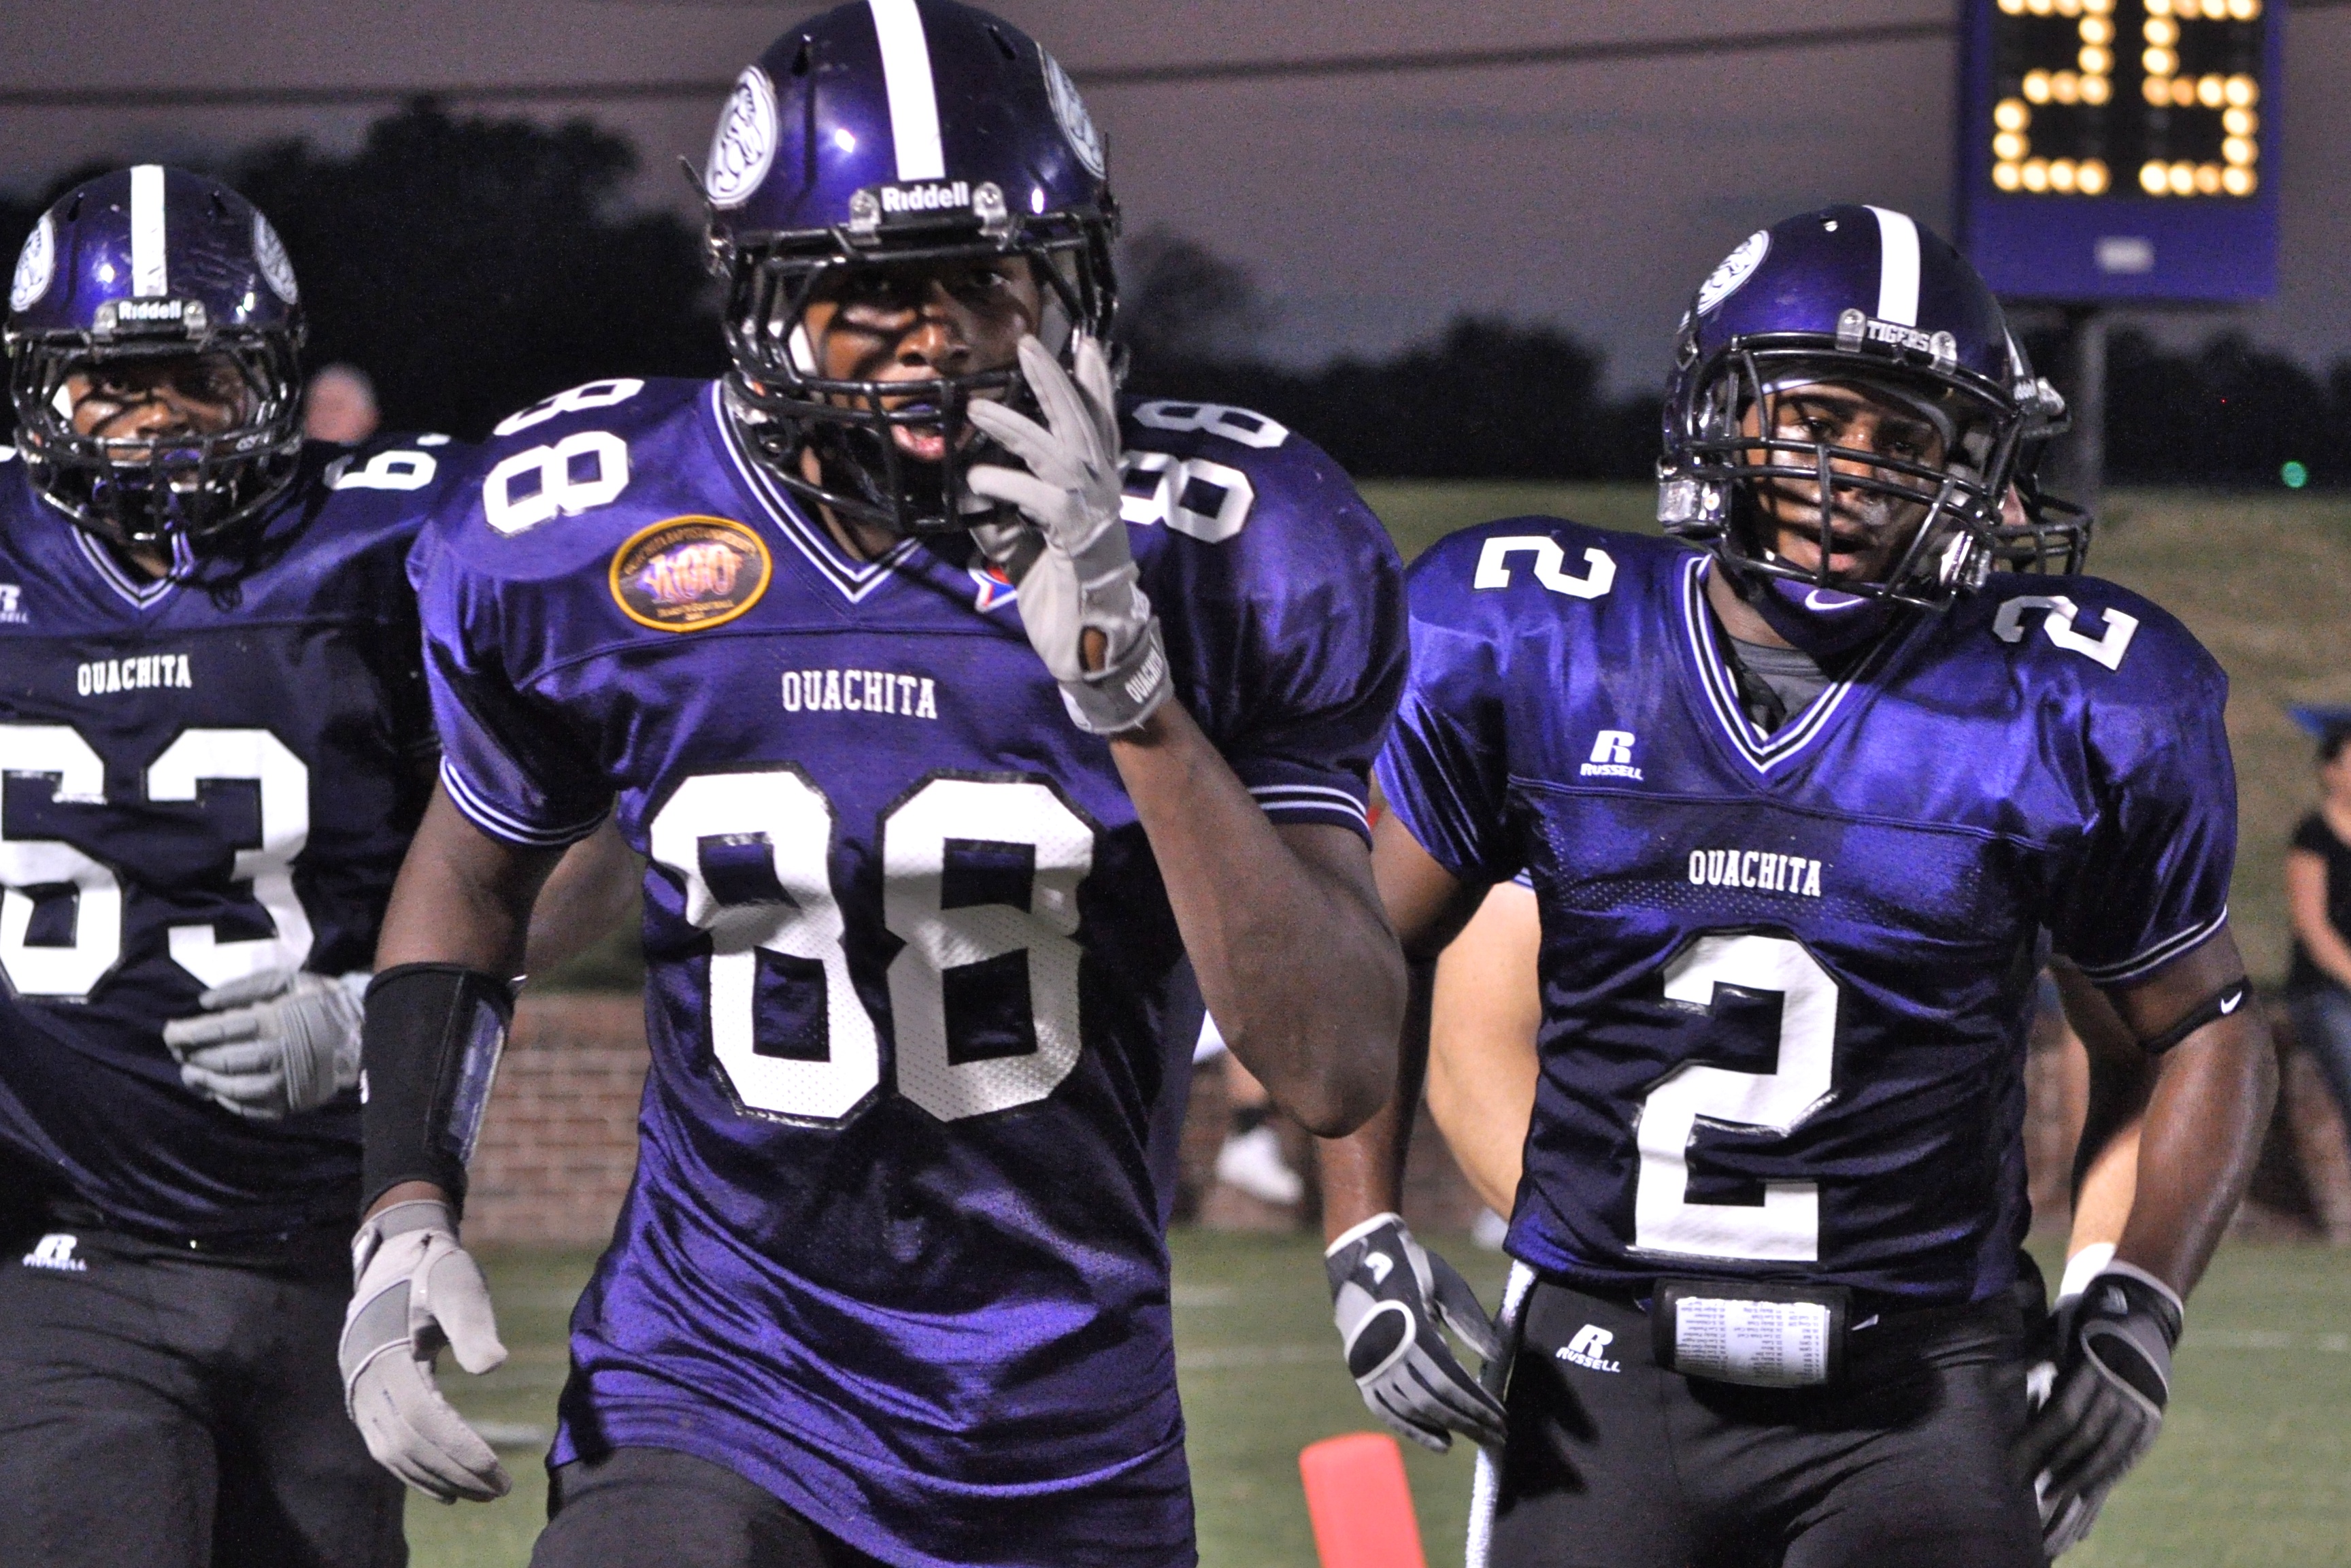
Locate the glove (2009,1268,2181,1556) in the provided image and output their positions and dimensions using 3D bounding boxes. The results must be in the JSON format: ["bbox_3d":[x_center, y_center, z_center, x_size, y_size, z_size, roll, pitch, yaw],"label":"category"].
[{"bbox_3d":[1.393,0.943,5.438,0.210,0.412,0.225,0,10,18],"label":"glove"}]

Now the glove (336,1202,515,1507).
[{"bbox_3d":[-0.949,0.769,4.907,0.153,0.241,0.390,28,27,-41],"label":"glove"}]

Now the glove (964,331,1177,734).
[{"bbox_3d":[-0.132,-0.307,4.633,0.209,0.506,0.205,-7,11,-25],"label":"glove"}]

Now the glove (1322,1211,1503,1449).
[{"bbox_3d":[0.374,0.831,5.547,0.182,0.278,0.356,-27,53,-28],"label":"glove"}]

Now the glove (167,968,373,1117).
[{"bbox_3d":[-1.424,0.424,5.824,0.342,0.226,0.149,-7,18,3],"label":"glove"}]
